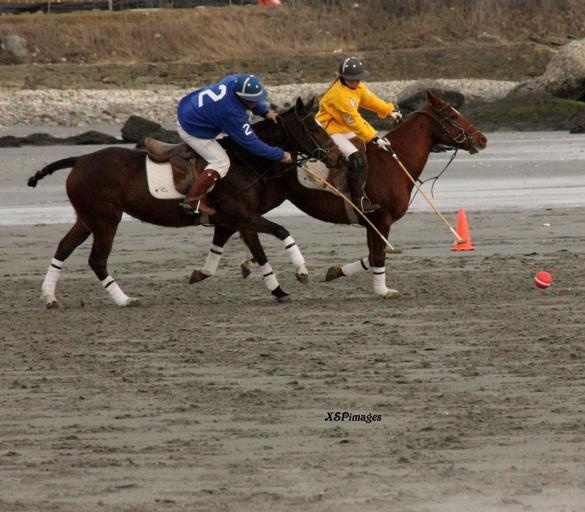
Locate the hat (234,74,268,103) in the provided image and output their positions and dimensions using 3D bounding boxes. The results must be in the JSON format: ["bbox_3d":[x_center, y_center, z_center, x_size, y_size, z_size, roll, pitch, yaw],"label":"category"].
[{"bbox_3d":[-0.602,-2.311,20.805,0.503,0.248,0.321,13,46,-9],"label":"hat"}]

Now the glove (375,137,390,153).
[{"bbox_3d":[1.277,-1.598,21.439,0.133,0.134,0.263,-25,-28,32],"label":"glove"}]

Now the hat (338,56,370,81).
[{"bbox_3d":[0.820,-2.647,21.318,0.404,0.196,0.371,27,49,34],"label":"hat"}]

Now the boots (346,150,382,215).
[{"bbox_3d":[0.989,-1.044,21.293,0.377,0.866,0.539,-7,21,-21],"label":"boots"}]
